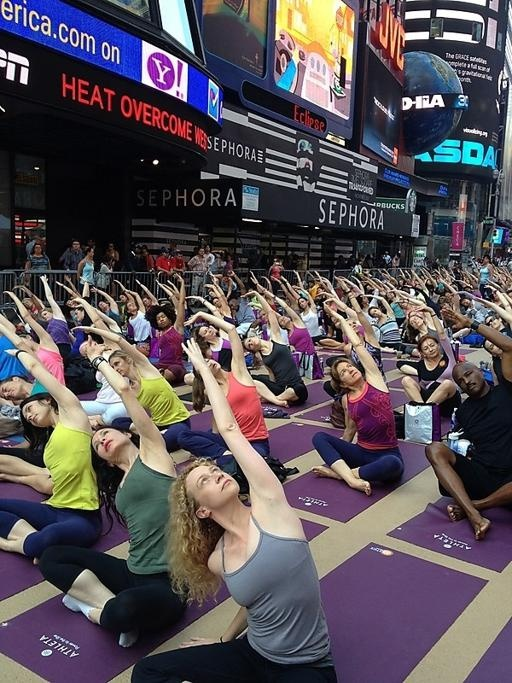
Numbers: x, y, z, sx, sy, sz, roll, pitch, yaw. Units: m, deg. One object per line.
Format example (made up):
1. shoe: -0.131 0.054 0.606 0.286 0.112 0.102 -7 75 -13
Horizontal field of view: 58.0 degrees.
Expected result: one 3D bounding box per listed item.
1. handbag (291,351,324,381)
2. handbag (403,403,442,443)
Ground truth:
1. handbag: 1.106 0.549 10.131 0.646 0.564 0.338 -1 29 35
2. handbag: 2.285 1.122 6.325 0.626 0.664 0.265 -1 3 34
